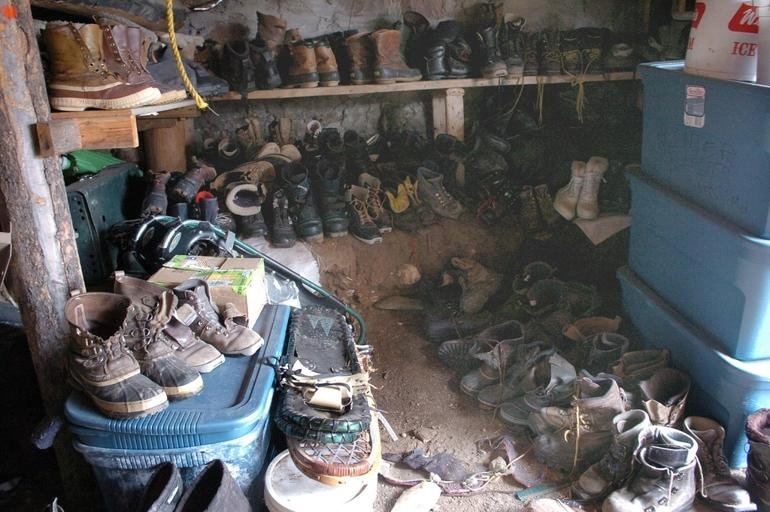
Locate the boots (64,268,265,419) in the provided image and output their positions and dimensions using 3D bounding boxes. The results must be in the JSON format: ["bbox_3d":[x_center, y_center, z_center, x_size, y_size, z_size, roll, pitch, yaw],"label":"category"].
[{"bbox_3d":[-0.920,0.355,2.099,0.542,0.204,0.556,17,25,6],"label":"boots"}]

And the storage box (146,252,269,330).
[{"bbox_3d":[-0.782,0.105,2.509,0.372,0.218,0.354,8,30,3],"label":"storage box"}]

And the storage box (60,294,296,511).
[{"bbox_3d":[-0.732,0.596,2.309,0.531,0.464,0.757,4,18,4],"label":"storage box"}]
